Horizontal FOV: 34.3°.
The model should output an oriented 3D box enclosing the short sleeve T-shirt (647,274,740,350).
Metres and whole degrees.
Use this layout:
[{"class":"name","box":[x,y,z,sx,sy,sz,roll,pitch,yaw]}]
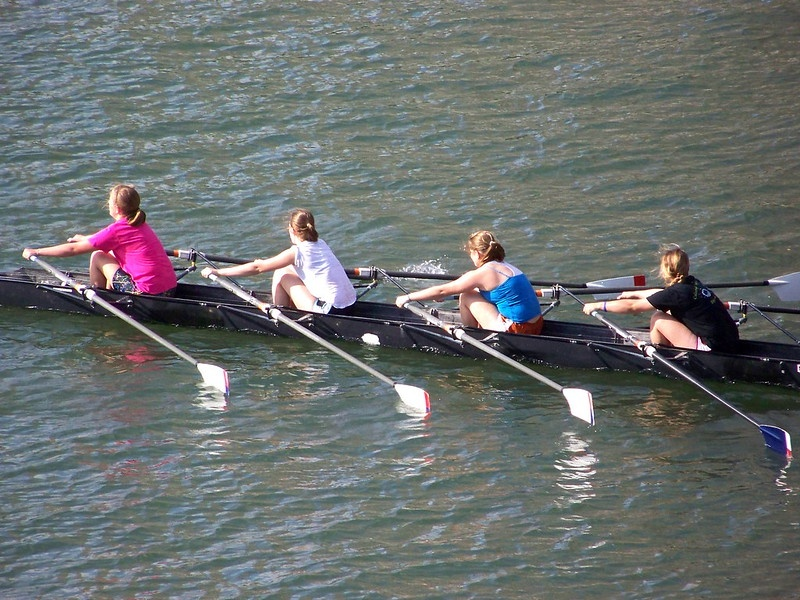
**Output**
[{"class":"short sleeve T-shirt","box":[4.407,0.205,19.022,1.083,1.215,0.610,22,55,35]}]
